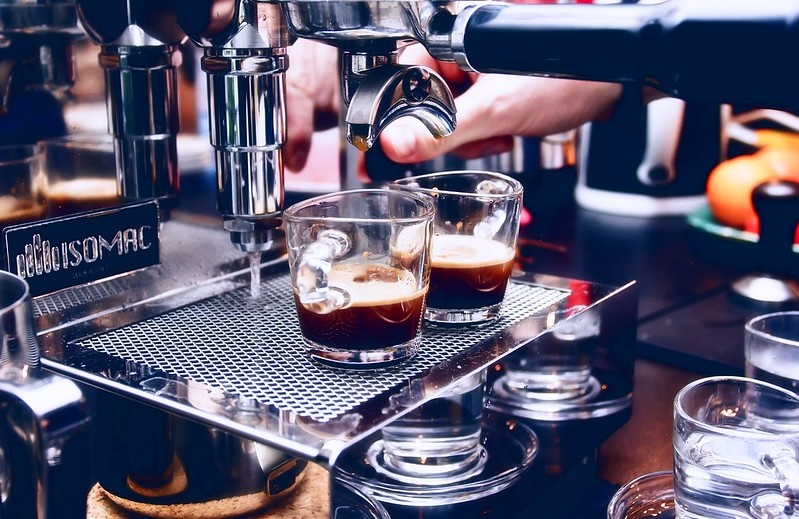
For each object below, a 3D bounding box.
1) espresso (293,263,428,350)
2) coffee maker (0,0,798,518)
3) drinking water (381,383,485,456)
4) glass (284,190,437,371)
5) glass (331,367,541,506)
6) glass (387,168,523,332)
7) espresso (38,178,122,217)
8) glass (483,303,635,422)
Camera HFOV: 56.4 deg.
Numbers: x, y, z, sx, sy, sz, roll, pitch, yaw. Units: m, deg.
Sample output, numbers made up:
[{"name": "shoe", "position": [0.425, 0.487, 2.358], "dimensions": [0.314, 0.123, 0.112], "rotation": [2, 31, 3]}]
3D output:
[{"name": "espresso", "position": [-0.029, 0.033, 0.544], "dimensions": [0.062, 0.044, 0.080], "rotation": [15, 24, 38]}, {"name": "coffee maker", "position": [-0.048, -0.046, 0.710], "dimensions": [0.320, 0.444, 0.553], "rotation": [-9, 16, -7]}, {"name": "drinking water", "position": [0.030, 0.135, 0.598], "dimensions": [0.064, 0.051, 0.073], "rotation": [-1, 9, -3]}, {"name": "glass", "position": [-0.039, 0.023, 0.560], "dimensions": [0.114, 0.117, 0.164], "rotation": [5, 15, 17]}, {"name": "glass", "position": [0.044, 0.154, 0.598], "dimensions": [0.138, 0.069, 0.121], "rotation": [-10, 17, -27]}, {"name": "glass", "position": [0.042, -0.001, 0.663], "dimensions": [0.134, 0.119, 0.105], "rotation": [-2, 6, -26]}, {"name": "espresso", "position": [-0.262, -0.052, 0.615], "dimensions": [0.039, 0.026, 0.036], "rotation": [0, 14, -4]}, {"name": "glass", "position": [0.157, 0.075, 0.709], "dimensions": [0.126, 0.081, 0.119], "rotation": [0, 13, 5]}]
